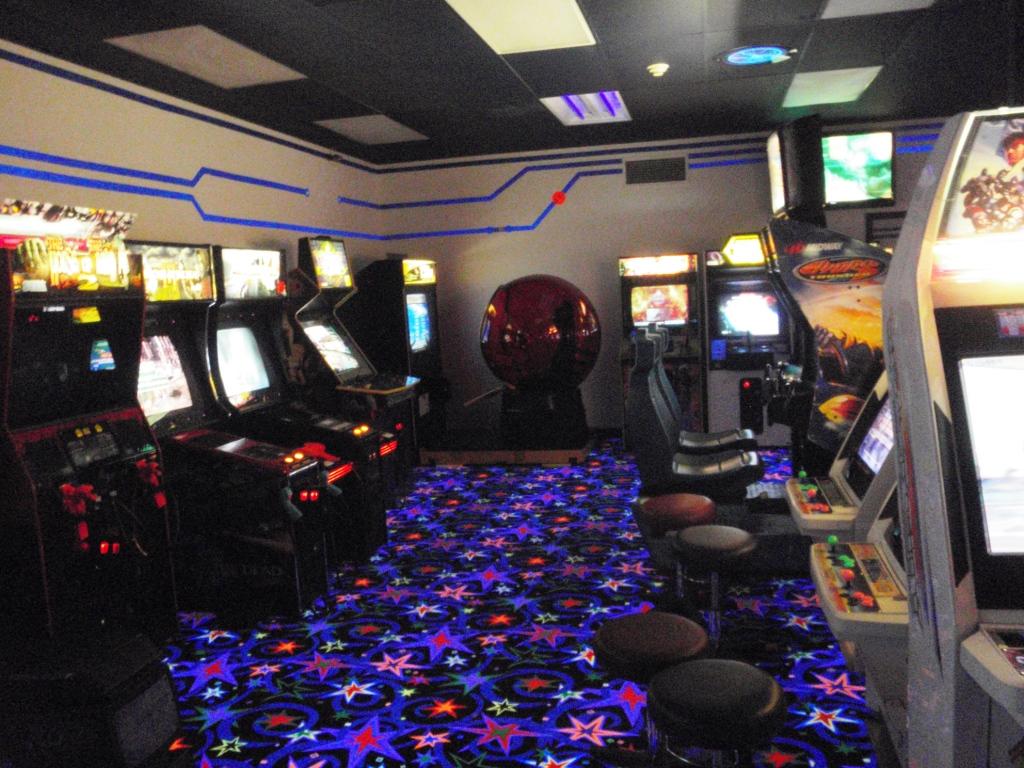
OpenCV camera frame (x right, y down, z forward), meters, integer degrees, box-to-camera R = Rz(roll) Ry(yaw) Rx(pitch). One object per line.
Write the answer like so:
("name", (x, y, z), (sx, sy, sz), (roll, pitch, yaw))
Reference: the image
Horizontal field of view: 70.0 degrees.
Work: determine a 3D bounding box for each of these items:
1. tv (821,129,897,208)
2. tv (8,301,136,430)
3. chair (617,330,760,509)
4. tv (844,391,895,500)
("tv", (2.922, -1.835, 6.215), (0.969, 0.748, 0.095), (0, 4, 5))
("tv", (-2.091, -0.099, 3.433), (0.209, 0.507, 0.628), (4, 6, 18))
("chair", (1.263, 0.202, 5.027), (0.806, 1.220, 1.190), (-3, 9, 17))
("tv", (1.448, 0.263, 2.963), (0.199, 0.249, 0.376), (16, 26, 16))
